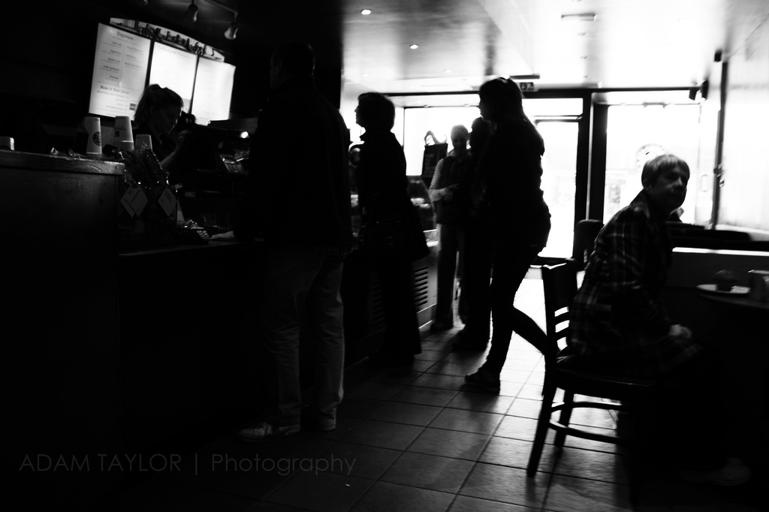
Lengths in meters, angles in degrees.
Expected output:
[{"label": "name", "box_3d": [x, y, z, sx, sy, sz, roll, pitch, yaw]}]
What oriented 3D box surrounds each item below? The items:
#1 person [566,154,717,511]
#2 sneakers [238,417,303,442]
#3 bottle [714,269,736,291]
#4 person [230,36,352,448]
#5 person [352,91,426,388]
[{"label": "person", "box_3d": [1.346, 0.302, 2.923, 0.845, 1.591, 0.450, -2, 12, -17]}, {"label": "sneakers", "box_3d": [-0.652, 0.986, 3.360, 0.328, 0.130, 0.114, 6, -7, -26]}, {"label": "bottle", "box_3d": [1.754, 0.124, 3.031, 0.125, 0.139, 0.137, 0, -1, 31]}, {"label": "person", "box_3d": [-0.535, -0.076, 3.350, 0.726, 2.206, 0.465, -6, 13, -32]}, {"label": "person", "box_3d": [0.053, -0.166, 4.471, 0.559, 2.077, 0.370, 0, 11, -6]}]
